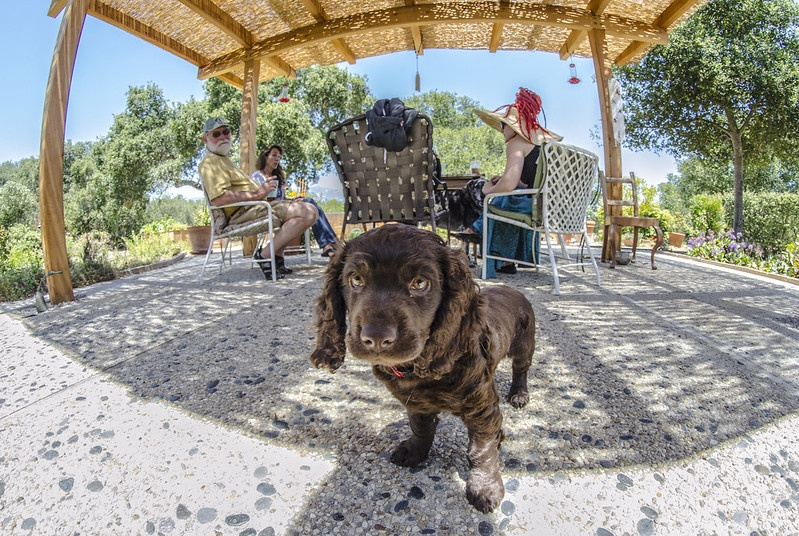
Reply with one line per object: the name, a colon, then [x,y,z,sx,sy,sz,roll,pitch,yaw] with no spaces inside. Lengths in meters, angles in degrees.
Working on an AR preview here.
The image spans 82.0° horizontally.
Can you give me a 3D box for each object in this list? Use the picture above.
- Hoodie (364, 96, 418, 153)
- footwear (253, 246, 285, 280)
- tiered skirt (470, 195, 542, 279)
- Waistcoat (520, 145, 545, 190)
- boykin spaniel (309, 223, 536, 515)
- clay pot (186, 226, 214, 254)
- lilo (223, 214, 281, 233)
Hoodie: [-0.079,-1.543,4.937,0.580,0.561,0.275,-1,8,-7]
footwear: [-1.529,-0.046,5.567,0.383,0.305,0.652,-6,11,-33]
tiered skirt: [1.456,-0.432,5.744,0.873,1.196,0.867,-3,12,-27]
Waistcoat: [1.512,-1.147,5.279,0.301,0.422,0.441,-2,14,-3]
boykin spaniel: [0.396,0.527,3.352,1.068,1.868,2.299,6,16,31]
clay pot: [-4.060,-0.557,9.322,0.600,0.533,0.628,3,7,0]
lilo: [-1.750,-0.486,5.482,0.384,0.094,0.372,-11,-1,-42]
